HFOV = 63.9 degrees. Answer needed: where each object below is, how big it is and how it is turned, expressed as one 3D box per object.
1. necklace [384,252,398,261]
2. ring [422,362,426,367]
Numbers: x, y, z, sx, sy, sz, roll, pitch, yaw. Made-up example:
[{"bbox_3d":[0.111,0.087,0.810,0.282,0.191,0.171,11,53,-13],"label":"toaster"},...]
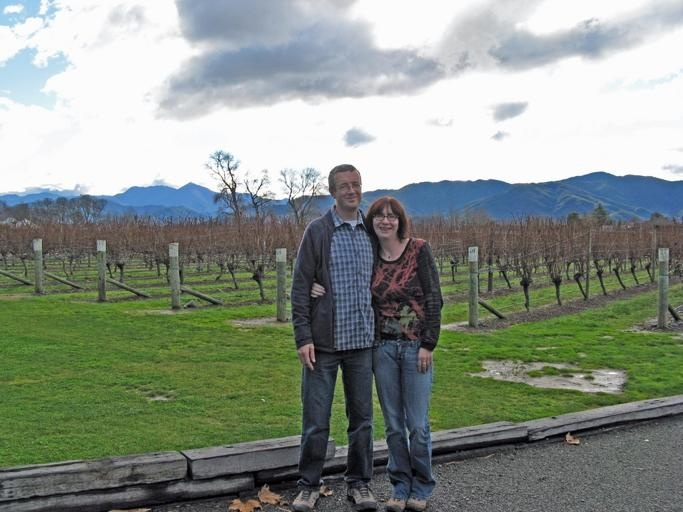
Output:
[{"bbox_3d":[0.461,-0.002,5.098,0.093,0.098,0.023,-1,-25,11],"label":"necklace"},{"bbox_3d":[0.740,0.972,4.943,0.041,0.039,0.040,-2,2,0],"label":"ring"}]
